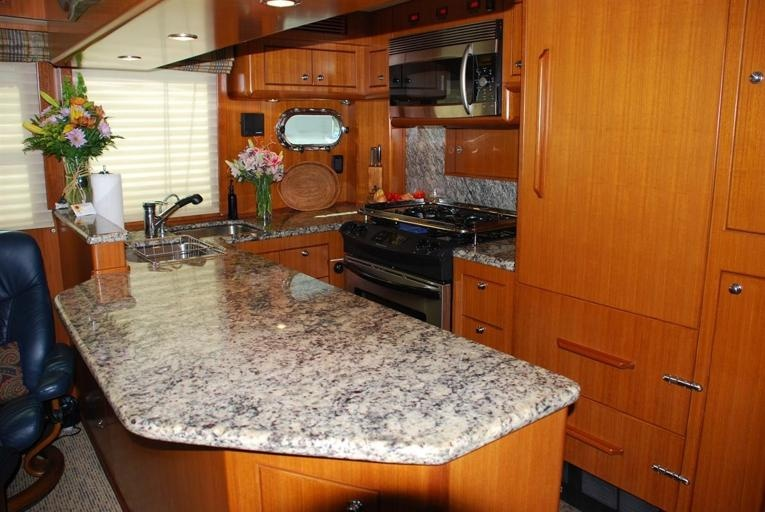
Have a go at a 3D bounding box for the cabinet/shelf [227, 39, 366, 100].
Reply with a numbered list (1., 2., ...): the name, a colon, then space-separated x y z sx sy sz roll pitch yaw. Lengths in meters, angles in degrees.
1. cabinet/shelf: -0.640 -1.508 4.447 1.093 0.426 0.175 -8 16 -23

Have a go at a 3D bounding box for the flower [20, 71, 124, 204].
1. flower: -1.903 -0.690 3.385 0.512 0.524 0.502 -8 23 -43

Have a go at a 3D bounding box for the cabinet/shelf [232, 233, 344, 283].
1. cabinet/shelf: -0.715 -0.128 4.316 0.790 0.399 0.424 -7 15 -32

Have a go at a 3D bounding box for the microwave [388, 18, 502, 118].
1. microwave: 0.451 -1.278 3.721 0.537 0.494 0.923 -8 14 -35

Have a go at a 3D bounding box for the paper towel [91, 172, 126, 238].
1. paper towel: -1.646 -0.342 3.281 0.173 0.308 0.195 -10 16 -21

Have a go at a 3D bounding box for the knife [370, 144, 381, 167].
1. knife: -0.061 -0.876 4.751 0.109 0.190 0.139 -4 15 1

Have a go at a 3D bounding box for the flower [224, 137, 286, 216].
1. flower: -0.983 -0.604 4.563 0.608 0.489 0.507 2 -7 0

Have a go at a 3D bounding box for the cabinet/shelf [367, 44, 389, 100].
1. cabinet/shelf: -0.044 -1.512 4.486 0.097 0.378 0.307 -12 17 -25
